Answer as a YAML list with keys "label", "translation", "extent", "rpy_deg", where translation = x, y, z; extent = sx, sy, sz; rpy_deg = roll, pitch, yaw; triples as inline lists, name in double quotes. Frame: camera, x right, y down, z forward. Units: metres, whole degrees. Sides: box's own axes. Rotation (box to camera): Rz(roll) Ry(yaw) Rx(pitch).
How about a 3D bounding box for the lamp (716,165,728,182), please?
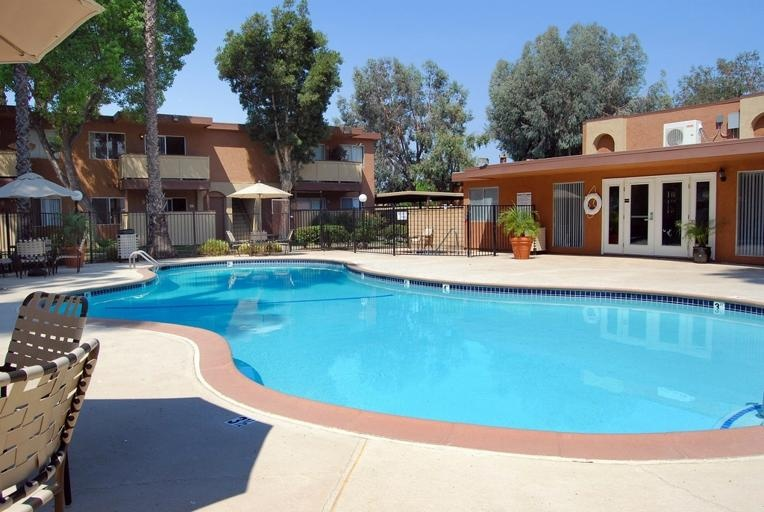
- label: "lamp"
  translation: [10.043, -2.428, 16.663]
  extent: [0.254, 0.439, 0.179]
  rpy_deg: [7, 10, 44]

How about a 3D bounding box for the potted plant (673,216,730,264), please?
- label: "potted plant"
  translation: [9.656, -0.454, 17.272]
  extent: [1.185, 1.344, 1.102]
  rpy_deg: [-3, -6, 37]

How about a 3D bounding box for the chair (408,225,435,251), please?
- label: "chair"
  translation: [1.779, -0.787, 24.720]
  extent: [0.944, 1.463, 1.143]
  rpy_deg: [-2, -4, 35]

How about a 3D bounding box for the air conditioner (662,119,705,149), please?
- label: "air conditioner"
  translation: [10.889, -4.497, 20.402]
  extent: [1.237, 0.920, 0.962]
  rpy_deg: [4, 8, 30]
